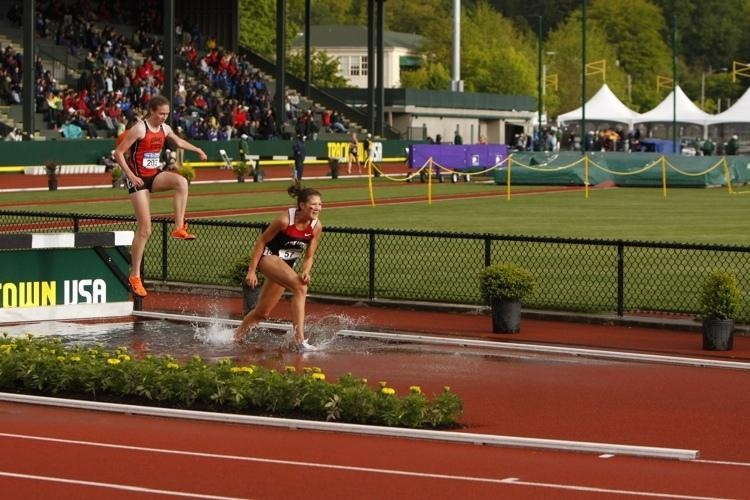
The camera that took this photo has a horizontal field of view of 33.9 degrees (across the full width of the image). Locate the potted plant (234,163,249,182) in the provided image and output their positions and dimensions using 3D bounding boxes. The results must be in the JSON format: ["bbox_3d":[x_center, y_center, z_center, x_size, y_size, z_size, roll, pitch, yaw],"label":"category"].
[{"bbox_3d":[-5.632,-3.234,51.318,0.804,0.917,0.669,-1,1,-24],"label":"potted plant"}]

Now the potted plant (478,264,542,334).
[{"bbox_3d":[2.124,0.801,19.540,0.932,1.152,1.069,1,0,-5],"label":"potted plant"}]

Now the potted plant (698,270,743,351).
[{"bbox_3d":[5.106,0.912,18.112,0.555,1.098,0.454,-4,9,-25],"label":"potted plant"}]
